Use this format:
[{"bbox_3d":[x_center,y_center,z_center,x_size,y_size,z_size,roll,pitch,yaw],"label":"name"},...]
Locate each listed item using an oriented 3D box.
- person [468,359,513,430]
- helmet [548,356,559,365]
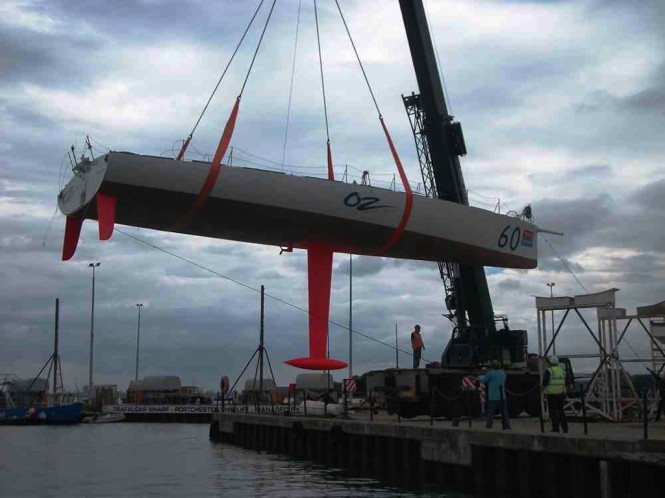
[{"bbox_3d":[4.254,3.759,19.444,0.736,1.707,1.199,0,-7,10],"label":"person"},{"bbox_3d":[5.578,2.787,18.727,0.193,0.189,0.196,0,2,-3],"label":"helmet"}]
